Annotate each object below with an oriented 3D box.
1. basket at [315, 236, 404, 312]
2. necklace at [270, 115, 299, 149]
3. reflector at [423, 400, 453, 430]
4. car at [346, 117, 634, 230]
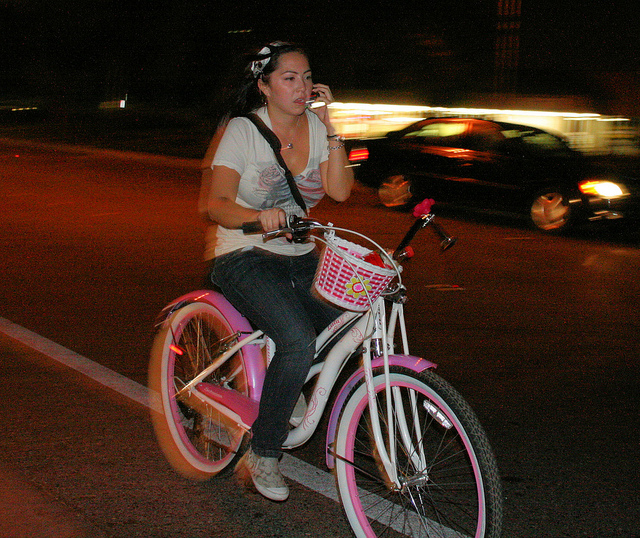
[{"bbox_3d":[0.156,0.045,2.611,0.375,0.235,0.317,29,7,6],"label":"basket"},{"bbox_3d":[-0.167,-0.727,3.207,0.142,0.144,0.135,-17,41,-5],"label":"necklace"},{"bbox_3d":[0.472,0.599,2.475,0.059,0.035,0.173,15,9,-19],"label":"reflector"},{"bbox_3d":[3.239,-1.883,11.671,5.514,1.377,2.426,9,10,38],"label":"car"}]
